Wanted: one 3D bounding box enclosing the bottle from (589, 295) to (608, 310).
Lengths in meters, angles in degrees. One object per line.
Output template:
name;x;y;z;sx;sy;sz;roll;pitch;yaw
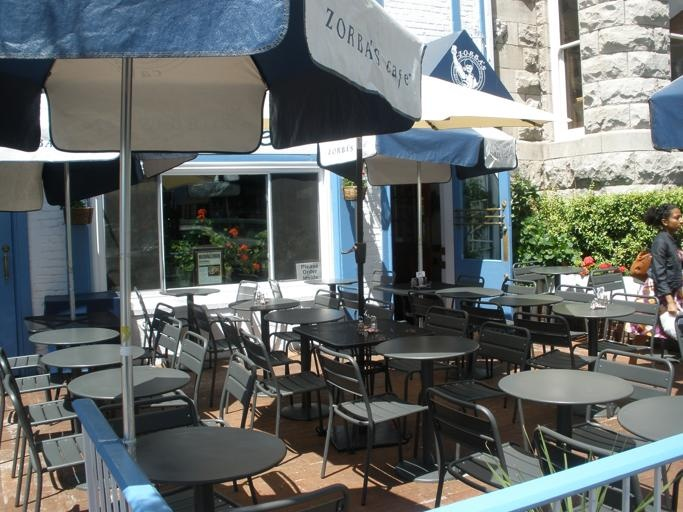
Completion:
bottle;2.495;0.446;6.803;0.138;0.055;0.105;-14;18;-36

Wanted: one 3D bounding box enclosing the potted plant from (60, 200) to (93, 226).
potted plant;-3.100;-0.476;8.379;0.274;0.213;0.312;0;-4;-5

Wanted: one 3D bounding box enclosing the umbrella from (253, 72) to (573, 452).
umbrella;0.665;-0.181;7.636;3.073;2.918;3.157;4;7;43

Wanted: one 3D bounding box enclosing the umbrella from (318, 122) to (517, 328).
umbrella;0.615;-0.494;8.084;2.065;2.438;2.129;0;1;-37

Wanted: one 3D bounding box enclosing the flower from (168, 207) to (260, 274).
flower;-1.768;0.013;9.935;1.159;0.851;0.792;6;-1;-28

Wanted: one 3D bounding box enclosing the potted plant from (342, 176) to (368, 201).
potted plant;0.206;-0.926;10.076;0.353;0.340;0.460;0;2;-5

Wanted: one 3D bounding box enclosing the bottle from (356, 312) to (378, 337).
bottle;0.235;0.616;6.362;0.143;0.159;0.276;-2;-5;1
